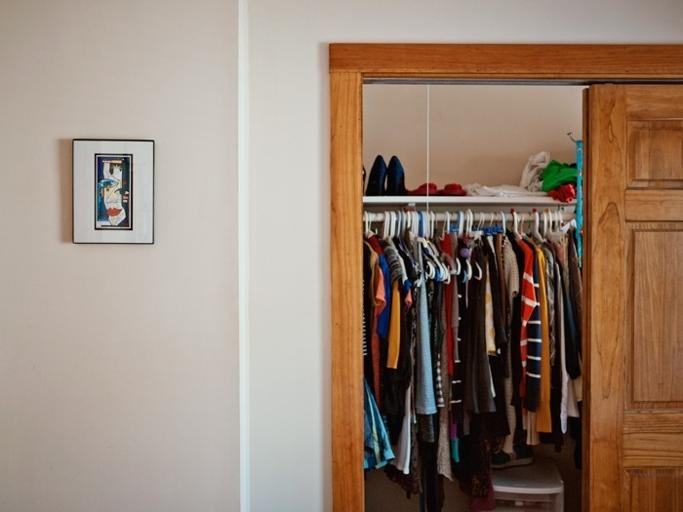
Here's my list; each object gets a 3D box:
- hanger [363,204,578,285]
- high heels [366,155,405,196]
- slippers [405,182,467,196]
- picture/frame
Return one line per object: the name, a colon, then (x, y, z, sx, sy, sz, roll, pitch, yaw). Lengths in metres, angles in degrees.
hanger: (0.442, -0.032, 2.440, 0.688, 0.112, 0.059, 2, -13, -6)
high heels: (0.165, -0.287, 2.578, 0.094, 0.189, 0.057, 2, 7, -1)
slippers: (0.356, -0.246, 2.605, 0.214, 0.052, 0.125, -3, 2, -43)
picture/frame: (-0.396, -0.111, 1.218, 0.012, 0.184, 0.159, 3, 6, 29)
